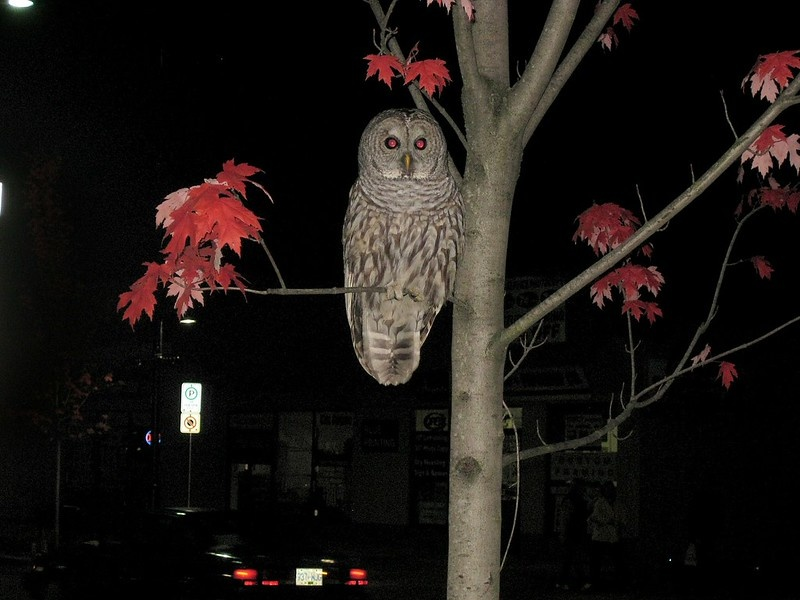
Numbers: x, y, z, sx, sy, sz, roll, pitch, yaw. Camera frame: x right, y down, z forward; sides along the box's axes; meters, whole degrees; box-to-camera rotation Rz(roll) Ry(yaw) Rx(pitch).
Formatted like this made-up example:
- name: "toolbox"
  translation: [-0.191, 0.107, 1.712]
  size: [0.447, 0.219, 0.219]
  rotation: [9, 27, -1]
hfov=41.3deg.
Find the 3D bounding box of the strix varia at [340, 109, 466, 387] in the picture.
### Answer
- name: "strix varia"
  translation: [0.014, -0.672, 12.606]
  size: [1.498, 3.367, 1.153]
  rotation: [-2, -19, 15]
